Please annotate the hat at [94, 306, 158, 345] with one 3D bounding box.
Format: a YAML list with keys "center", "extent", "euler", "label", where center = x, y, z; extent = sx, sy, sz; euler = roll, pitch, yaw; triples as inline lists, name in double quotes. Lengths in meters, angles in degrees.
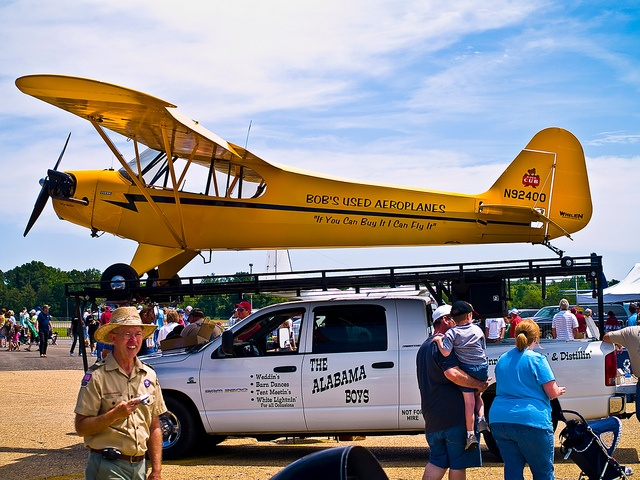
- center: [-1.812, 0.749, 6.996]
  extent: [0.491, 0.154, 0.404]
  euler: [-3, -11, 12]
  label: "hat"

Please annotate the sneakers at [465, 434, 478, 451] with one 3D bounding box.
- center: [1.589, 2.121, 8.193]
  extent: [0.157, 0.140, 0.093]
  euler: [3, -3, -44]
  label: "sneakers"

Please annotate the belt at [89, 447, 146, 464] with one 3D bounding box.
- center: [-1.785, 1.877, 6.830]
  extent: [0.295, 0.072, 0.193]
  euler: [6, -3, 0]
  label: "belt"

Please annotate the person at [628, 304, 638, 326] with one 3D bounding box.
- center: [7.063, 1.662, 17.516]
  extent: [0.146, 0.507, 2.417]
  euler: [0, -2, 21]
  label: "person"

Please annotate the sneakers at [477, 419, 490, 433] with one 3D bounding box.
- center: [1.907, 2.163, 9.076]
  extent: [0.141, 0.150, 0.374]
  euler: [-4, -20, 12]
  label: "sneakers"

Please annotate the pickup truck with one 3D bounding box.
- center: [1.078, 1.803, 10.784]
  extent: [6.524, 1.481, 2.432]
  euler: [1, -7, 3]
  label: "pickup truck"

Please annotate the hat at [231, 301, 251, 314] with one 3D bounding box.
- center: [-1.364, 1.219, 14.171]
  extent: [0.337, 0.152, 0.222]
  euler: [11, -13, -30]
  label: "hat"

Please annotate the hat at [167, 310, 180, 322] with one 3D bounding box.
- center: [-2.734, 1.386, 14.354]
  extent: [0.188, 0.201, 0.217]
  euler: [0, -20, 15]
  label: "hat"

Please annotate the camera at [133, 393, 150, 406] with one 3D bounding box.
- center: [-1.582, 1.391, 6.809]
  extent: [0.152, 0.092, 0.291]
  euler: [1, -2, -8]
  label: "camera"

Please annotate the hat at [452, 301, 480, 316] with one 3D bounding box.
- center: [1.611, 0.747, 8.628]
  extent: [0.271, 0.112, 0.160]
  euler: [-5, -1, -26]
  label: "hat"

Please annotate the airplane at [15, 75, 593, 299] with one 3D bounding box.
- center: [-0.398, -0.856, 14.097]
  extent: [9.986, 3.096, 3.683]
  euler: [1, -2, -11]
  label: "airplane"
